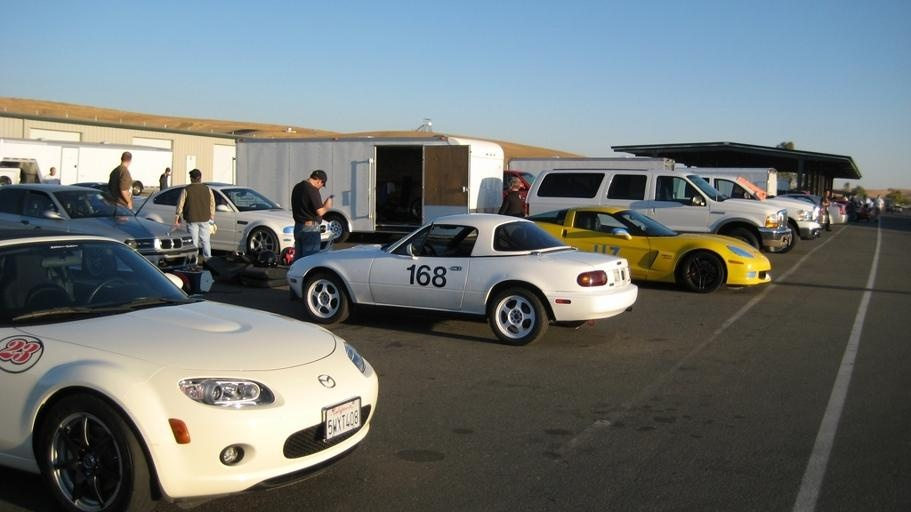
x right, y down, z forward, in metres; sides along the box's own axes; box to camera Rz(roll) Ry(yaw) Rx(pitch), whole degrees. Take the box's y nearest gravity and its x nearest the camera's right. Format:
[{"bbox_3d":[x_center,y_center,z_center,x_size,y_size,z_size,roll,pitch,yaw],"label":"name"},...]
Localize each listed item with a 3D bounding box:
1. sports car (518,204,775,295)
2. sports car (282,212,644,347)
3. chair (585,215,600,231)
[{"bbox_3d":[4.494,-0.181,13.911,4.832,1.240,2.327,4,8,18],"label":"sports car"},{"bbox_3d":[0.231,0.261,10.532,4.918,1.586,2.384,5,4,21],"label":"sports car"},{"bbox_3d":[3.131,-0.739,13.799,0.165,0.203,0.291,-28,47,-21],"label":"chair"}]
